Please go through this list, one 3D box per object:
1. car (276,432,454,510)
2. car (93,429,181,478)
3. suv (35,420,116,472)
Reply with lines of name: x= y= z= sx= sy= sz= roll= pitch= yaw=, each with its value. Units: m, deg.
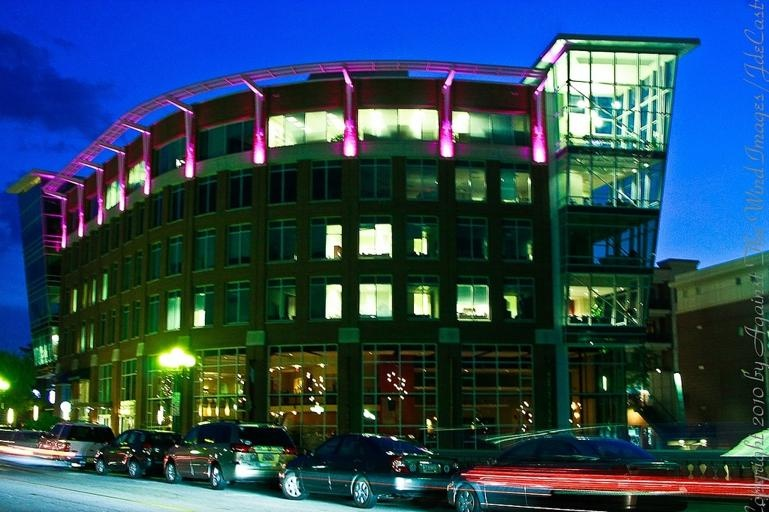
car: x=-0.852 y=8.587 z=34.641 sx=6.182 sy=1.908 sz=3.056 roll=-7 pitch=-18 yaw=39
car: x=-12.497 y=9.862 z=43.319 sx=4.144 sy=1.665 sz=2.464 roll=-5 pitch=-11 yaw=42
suv: x=-17.169 y=10.382 z=47.510 sx=2.610 sy=1.855 sz=4.435 roll=7 pitch=-6 yaw=-40
